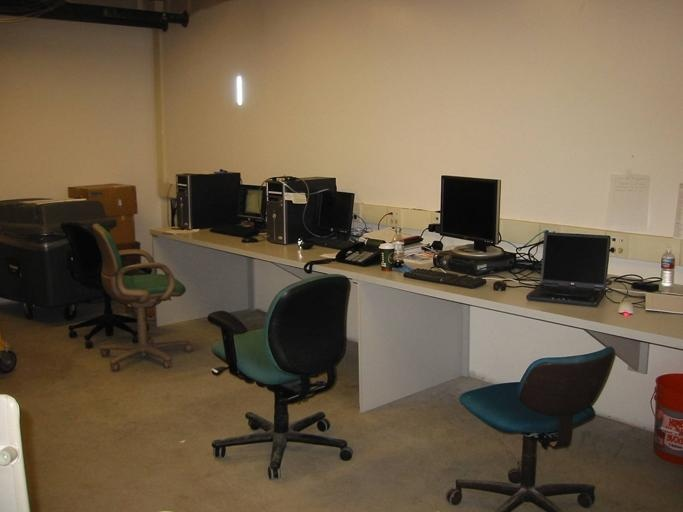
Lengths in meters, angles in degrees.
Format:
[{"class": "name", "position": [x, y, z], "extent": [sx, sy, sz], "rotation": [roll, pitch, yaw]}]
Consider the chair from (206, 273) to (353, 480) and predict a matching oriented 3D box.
[{"class": "chair", "position": [-0.370, 0.629, 3.318], "extent": [0.772, 1.133, 0.794], "rotation": [-2, 11, -21]}]

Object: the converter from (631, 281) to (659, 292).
[{"class": "converter", "position": [1.693, 0.156, 3.162], "extent": [0.071, 0.037, 0.098], "rotation": [-9, 13, -33]}]

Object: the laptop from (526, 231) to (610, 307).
[{"class": "laptop", "position": [1.248, 0.066, 3.086], "extent": [0.374, 0.347, 0.350], "rotation": [8, 12, 26]}]

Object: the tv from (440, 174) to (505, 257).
[{"class": "tv", "position": [0.876, -0.270, 3.702], "extent": [0.266, 0.505, 0.496], "rotation": [-7, 13, -32]}]

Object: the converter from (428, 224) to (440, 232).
[{"class": "converter", "position": [0.647, -0.193, 3.945], "extent": [0.059, 0.050, 0.090], "rotation": [2, 6, -13]}]

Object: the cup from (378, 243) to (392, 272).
[{"class": "cup", "position": [0.298, -0.005, 3.722], "extent": [0.086, 0.174, 0.179], "rotation": [3, 11, 4]}]

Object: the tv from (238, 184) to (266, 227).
[{"class": "tv", "position": [-0.760, -0.487, 5.226], "extent": [0.335, 0.296, 0.182], "rotation": [10, 7, 39]}]

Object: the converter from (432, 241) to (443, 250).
[{"class": "converter", "position": [0.682, -0.080, 4.009], "extent": [0.057, 0.045, 0.058], "rotation": [11, 19, 43]}]

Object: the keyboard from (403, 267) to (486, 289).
[{"class": "keyboard", "position": [0.616, 0.135, 3.381], "extent": [0.330, 0.036, 0.173], "rotation": [12, 15, 43]}]

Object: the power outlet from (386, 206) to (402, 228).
[{"class": "power outlet", "position": [0.414, -0.312, 4.444], "extent": [0.019, 0.190, 0.161], "rotation": [-8, 12, -35]}]

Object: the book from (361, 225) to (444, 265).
[{"class": "book", "position": [0.370, -0.103, 4.011], "extent": [0.260, 0.115, 0.354], "rotation": [-10, 19, -35]}]

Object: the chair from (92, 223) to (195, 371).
[{"class": "chair", "position": [-1.627, 0.313, 4.645], "extent": [0.783, 1.134, 0.748], "rotation": [9, 12, 44]}]

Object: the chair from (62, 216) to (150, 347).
[{"class": "chair", "position": [-2.029, 0.239, 4.950], "extent": [0.698, 1.031, 0.657], "rotation": [12, 10, 1]}]

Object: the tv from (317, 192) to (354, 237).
[{"class": "tv", "position": [-0.045, -0.340, 4.464], "extent": [0.126, 0.360, 0.344], "rotation": [3, 0, -44]}]

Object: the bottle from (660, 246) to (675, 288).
[{"class": "bottle", "position": [1.869, 0.063, 3.241], "extent": [0.083, 0.212, 0.178], "rotation": [9, 13, 31]}]
